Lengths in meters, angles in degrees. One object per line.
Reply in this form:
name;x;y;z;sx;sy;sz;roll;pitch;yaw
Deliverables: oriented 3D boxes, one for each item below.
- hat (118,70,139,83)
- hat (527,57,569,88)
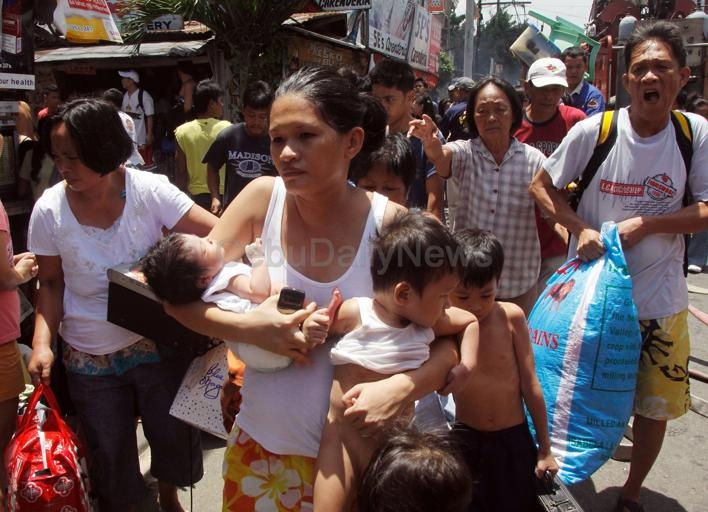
hat;-3.741;-3.010;9.000;0.306;0.131;0.215;19;21;-33
hat;1.806;-1.709;5.048;0.306;0.280;0.453;4;9;2
